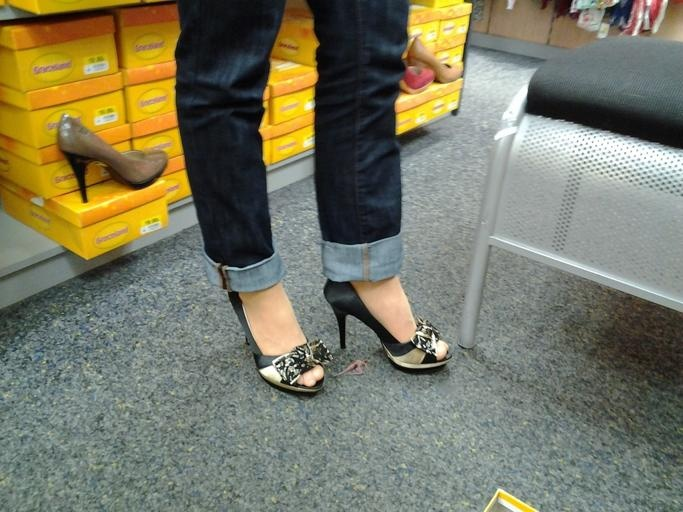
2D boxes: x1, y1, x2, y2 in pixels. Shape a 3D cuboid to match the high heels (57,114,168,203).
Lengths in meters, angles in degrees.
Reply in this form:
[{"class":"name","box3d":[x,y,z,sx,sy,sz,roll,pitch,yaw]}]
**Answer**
[{"class":"high heels","box3d":[-0.500,-0.249,1.189,0.280,0.197,0.108,-16,55,-37]}]
